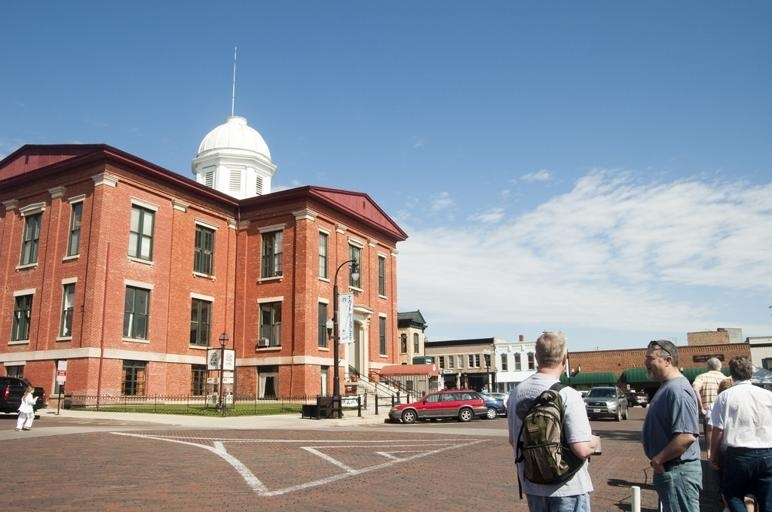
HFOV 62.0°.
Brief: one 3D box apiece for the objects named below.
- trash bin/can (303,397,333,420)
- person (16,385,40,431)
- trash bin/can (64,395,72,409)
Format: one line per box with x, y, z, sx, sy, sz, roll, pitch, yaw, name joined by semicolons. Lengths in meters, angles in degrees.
-3.265;7.403;31.132;1.691;1.082;1.038;-3;-5;41;trash bin/can
-12.628;5.343;22.589;0.492;1.523;1.870;7;-15;-28;person
-16.260;7.479;32.844;0.430;0.678;0.419;6;-15;-25;trash bin/can
